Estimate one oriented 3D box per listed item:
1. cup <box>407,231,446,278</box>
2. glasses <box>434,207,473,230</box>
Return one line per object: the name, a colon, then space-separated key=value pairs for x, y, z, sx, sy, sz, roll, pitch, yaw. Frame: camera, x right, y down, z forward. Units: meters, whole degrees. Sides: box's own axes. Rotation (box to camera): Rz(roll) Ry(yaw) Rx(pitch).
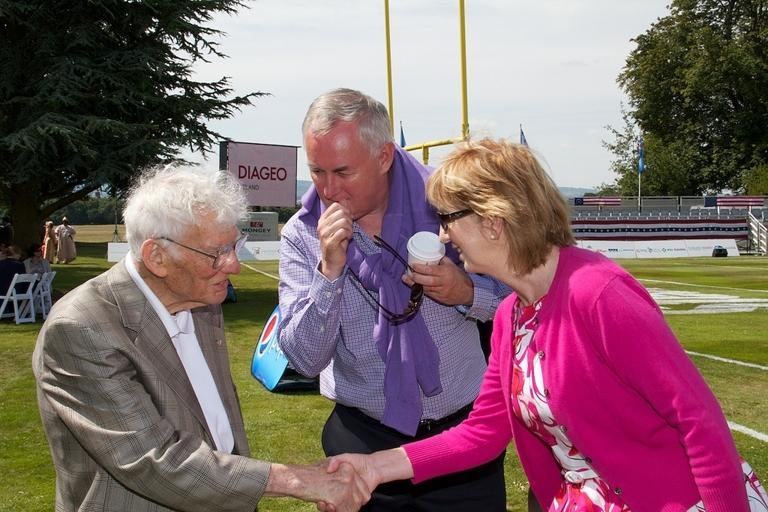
cup: x=0.286 y=-0.048 z=5.416 sx=0.237 sy=0.250 sz=0.206 roll=26 pitch=-36 yaw=7
glasses: x=0.431 y=-0.245 z=4.787 sx=0.141 sy=0.052 sz=0.146 roll=-16 pitch=-3 yaw=-8
